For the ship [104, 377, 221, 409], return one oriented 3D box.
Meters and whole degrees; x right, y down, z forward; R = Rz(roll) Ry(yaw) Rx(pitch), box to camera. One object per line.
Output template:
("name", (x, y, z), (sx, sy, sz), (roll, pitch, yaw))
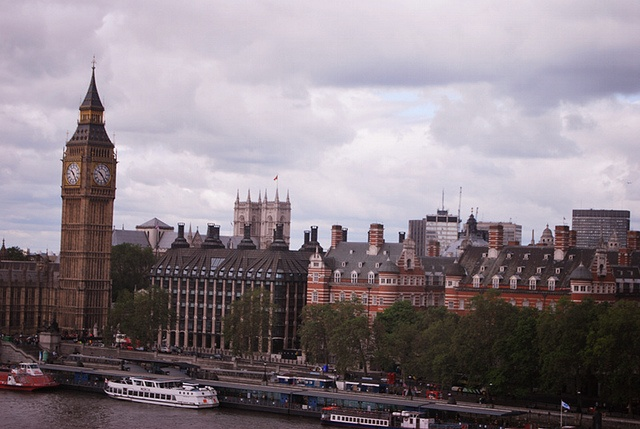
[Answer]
("ship", (-26.058, 30.074, 262.064), (19.287, 3.351, 6.075), (5, 4, 31))
